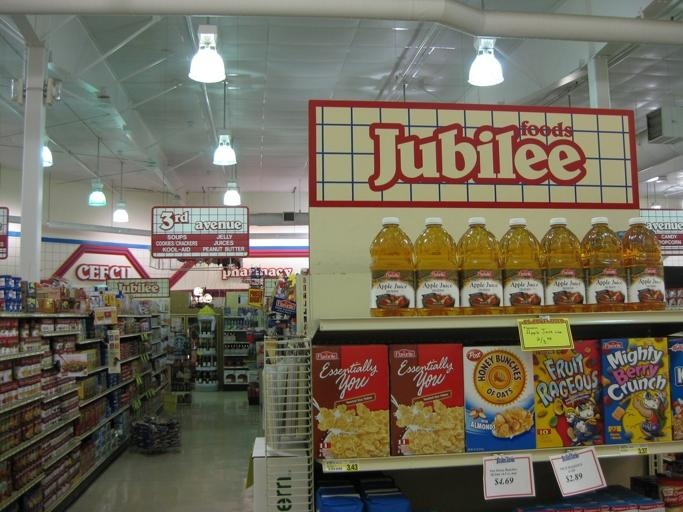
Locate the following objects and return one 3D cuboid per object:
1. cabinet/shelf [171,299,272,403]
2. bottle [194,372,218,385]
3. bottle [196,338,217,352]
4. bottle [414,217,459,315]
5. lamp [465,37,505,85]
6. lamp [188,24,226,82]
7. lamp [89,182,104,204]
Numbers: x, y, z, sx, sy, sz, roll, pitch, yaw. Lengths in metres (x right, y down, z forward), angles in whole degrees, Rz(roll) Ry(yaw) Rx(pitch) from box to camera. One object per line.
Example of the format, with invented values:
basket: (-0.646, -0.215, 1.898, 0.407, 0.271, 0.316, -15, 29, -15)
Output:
cabinet/shelf: (-2.861, 2.040, 12.877, 1.922, 1.980, 3.404, 1, -7, -14)
bottle: (-3.097, 2.727, 13.123, 0.567, 0.345, 0.287, 1, 1, -1)
bottle: (-3.063, 1.946, 12.923, 0.359, 0.350, 0.358, -1, -3, -5)
bottle: (0.413, 0.038, 2.491, 0.194, 0.414, 0.159, -2, -8, 9)
lamp: (1.741, -2.134, 6.524, 0.546, 0.515, 0.516, 0, 2, -5)
lamp: (-1.285, -1.960, 5.599, 0.400, 0.481, 0.379, -11, 27, -30)
lamp: (-5.219, -1.339, 12.281, 0.267, 0.489, 0.376, 1, -8, -16)
